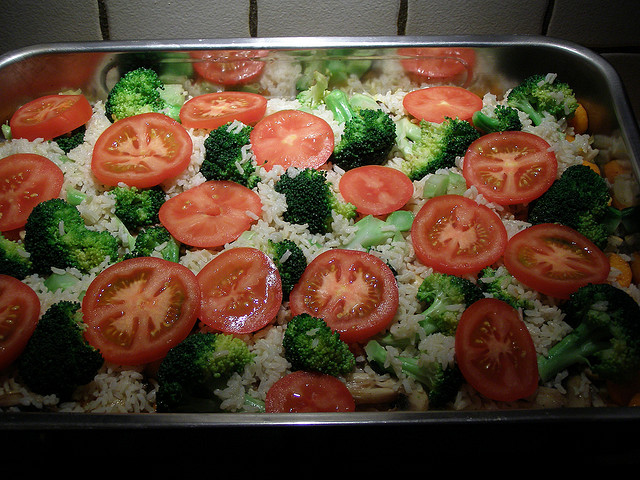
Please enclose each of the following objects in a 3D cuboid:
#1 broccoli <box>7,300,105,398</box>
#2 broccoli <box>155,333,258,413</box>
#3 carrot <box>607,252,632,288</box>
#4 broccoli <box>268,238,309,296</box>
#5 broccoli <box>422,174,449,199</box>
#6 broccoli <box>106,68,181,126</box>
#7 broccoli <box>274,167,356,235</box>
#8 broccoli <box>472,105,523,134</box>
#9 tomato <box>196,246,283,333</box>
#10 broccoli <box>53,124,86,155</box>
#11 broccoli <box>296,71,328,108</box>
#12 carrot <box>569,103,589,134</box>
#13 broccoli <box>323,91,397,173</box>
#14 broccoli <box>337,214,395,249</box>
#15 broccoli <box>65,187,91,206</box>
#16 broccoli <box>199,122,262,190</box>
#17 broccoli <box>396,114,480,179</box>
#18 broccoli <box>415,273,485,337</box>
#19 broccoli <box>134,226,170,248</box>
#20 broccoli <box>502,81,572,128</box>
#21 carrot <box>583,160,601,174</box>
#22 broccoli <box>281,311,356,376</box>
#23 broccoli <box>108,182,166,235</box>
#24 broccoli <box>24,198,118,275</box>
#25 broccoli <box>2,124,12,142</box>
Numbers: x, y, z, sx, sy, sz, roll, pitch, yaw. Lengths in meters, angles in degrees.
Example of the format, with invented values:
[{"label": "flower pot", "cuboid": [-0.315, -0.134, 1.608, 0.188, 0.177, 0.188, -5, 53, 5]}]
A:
[{"label": "broccoli", "cuboid": [-1.119, 0.485, 2.279, 0.322, 0.207, 0.324, -28, 59, -20]}, {"label": "broccoli", "cuboid": [-0.499, 0.557, 2.239, 0.361, 0.134, 0.302, -36, 107, -10]}, {"label": "carrot", "cuboid": [1.409, 0.140, 2.565, 0.037, 0.130, 0.134, -31, 50, 27]}, {"label": "broccoli", "cuboid": [-0.145, 0.125, 2.403, 0.193, 0.087, 0.228, 34, 77, -8]}, {"label": "broccoli", "cuboid": [0.563, -0.259, 2.663, 0.113, 0.166, 0.097, 5, 58, 5]}, {"label": "broccoli", "cuboid": [-0.951, -0.751, 2.875, 0.346, 0.126, 0.302, 18, 81, -22]}, {"label": "broccoli", "cuboid": [-0.039, -0.153, 2.600, 0.287, 0.089, 0.333, -19, 86, -5]}, {"label": "broccoli", "cuboid": [0.923, -0.635, 2.815, 0.248, 0.196, 0.161, 11, 88, 11]}, {"label": "tomato", "cuboid": [-0.357, 0.221, 2.370, 0.368, 0.111, 0.374, -5, 54, -5]}, {"label": "broccoli", "cuboid": [-1.308, -0.529, 2.793, 0.130, 0.079, 0.162, 14, 78, -11]}, {"label": "broccoli", "cuboid": [-0.035, -0.805, 2.938, 0.167, 0.177, 0.168, 4, 76, -16]}, {"label": "carrot", "cuboid": [1.375, -0.639, 2.825, 0.070, 0.108, 0.137, 2, 91, 39]}, {"label": "broccoli", "cuboid": [0.178, -0.612, 2.789, 0.319, 0.221, 0.429, -20, 66, -19]}, {"label": "broccoli", "cuboid": [0.234, -0.027, 2.544, 0.215, 0.058, 0.146, -38, 76, -14]}, {"label": "broccoli", "cuboid": [-1.173, -0.212, 2.600, 0.106, 0.039, 0.062, 15, 78, 8]}, {"label": "broccoli", "cuboid": [-0.462, -0.425, 2.753, 0.248, 0.152, 0.337, 1, 77, -4]}, {"label": "broccoli", "cuboid": [0.596, -0.493, 2.763, 0.338, 0.102, 0.405, 13, 80, 26]}, {"label": "broccoli", "cuboid": [0.552, 0.309, 2.453, 0.290, 0.346, 0.385, -3, 83, 34]}, {"label": "broccoli", "cuboid": [-0.794, -0.012, 2.518, 0.101, 0.061, 0.119, 2, 23, 43]}, {"label": "broccoli", "cuboid": [1.167, -0.735, 2.822, 0.279, 0.205, 0.294, -3, 75, 14]}, {"label": "carrot", "cuboid": [1.392, -0.377, 2.733, 0.072, 0.072, 0.040, 36, 91, -12]}, {"label": "broccoli", "cuboid": [-0.013, 0.468, 2.297, 0.333, 0.165, 0.216, 14, 54, 8]}, {"label": "broccoli", "cuboid": [-0.879, -0.185, 2.634, 0.257, 0.223, 0.148, -23, 22, 18]}, {"label": "broccoli", "cuboid": [-1.149, 0.005, 2.489, 0.416, 0.194, 0.302, 11, 54, 6]}, {"label": "broccoli", "cuboid": [-1.636, -0.559, 2.801, 0.020, 0.058, 0.080, -20, 93, -39]}]
